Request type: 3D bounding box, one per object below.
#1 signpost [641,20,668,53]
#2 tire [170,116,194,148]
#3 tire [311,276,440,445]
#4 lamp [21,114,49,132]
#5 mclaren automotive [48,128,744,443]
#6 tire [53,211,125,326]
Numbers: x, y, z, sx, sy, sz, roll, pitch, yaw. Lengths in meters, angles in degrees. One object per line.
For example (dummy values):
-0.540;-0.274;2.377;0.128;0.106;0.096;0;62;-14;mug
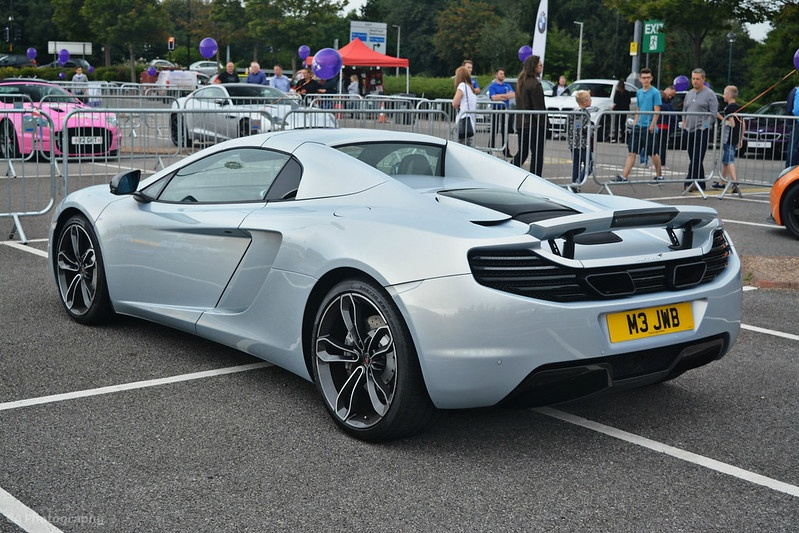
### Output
14.943;-13.686;38.418;1.230;1.759;1.952;6;17;19;signpost
-3.642;-2.290;10.906;0.395;0.455;0.187;10;15;22;tire
-0.174;0.576;4.047;0.876;0.998;0.237;13;20;38;tire
-5.191;-2.061;9.301;0.450;0.327;0.135;-1;-4;35;lamp
-0.145;-0.066;4.850;4.803;1.772;1.859;11;19;30;mclaren automotive
-2.735;0.003;5.767;0.835;1.080;0.316;-7;-7;42;tire
